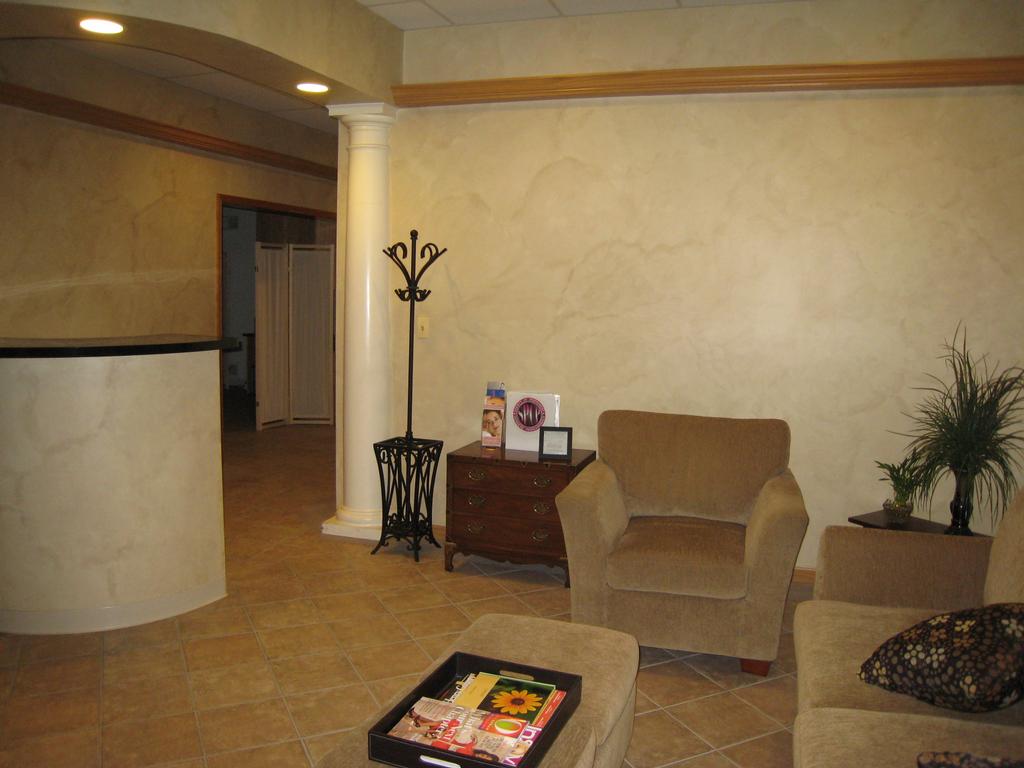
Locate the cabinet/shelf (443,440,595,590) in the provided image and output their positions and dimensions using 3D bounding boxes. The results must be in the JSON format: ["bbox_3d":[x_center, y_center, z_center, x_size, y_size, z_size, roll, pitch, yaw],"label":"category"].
[{"bbox_3d":[0.079,0.674,5.155,1.029,0.936,0.674,3,7,15],"label":"cabinet/shelf"}]

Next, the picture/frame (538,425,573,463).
[{"bbox_3d":[0.272,0.373,4.920,0.190,0.203,0.015,2,-3,6],"label":"picture/frame"}]
